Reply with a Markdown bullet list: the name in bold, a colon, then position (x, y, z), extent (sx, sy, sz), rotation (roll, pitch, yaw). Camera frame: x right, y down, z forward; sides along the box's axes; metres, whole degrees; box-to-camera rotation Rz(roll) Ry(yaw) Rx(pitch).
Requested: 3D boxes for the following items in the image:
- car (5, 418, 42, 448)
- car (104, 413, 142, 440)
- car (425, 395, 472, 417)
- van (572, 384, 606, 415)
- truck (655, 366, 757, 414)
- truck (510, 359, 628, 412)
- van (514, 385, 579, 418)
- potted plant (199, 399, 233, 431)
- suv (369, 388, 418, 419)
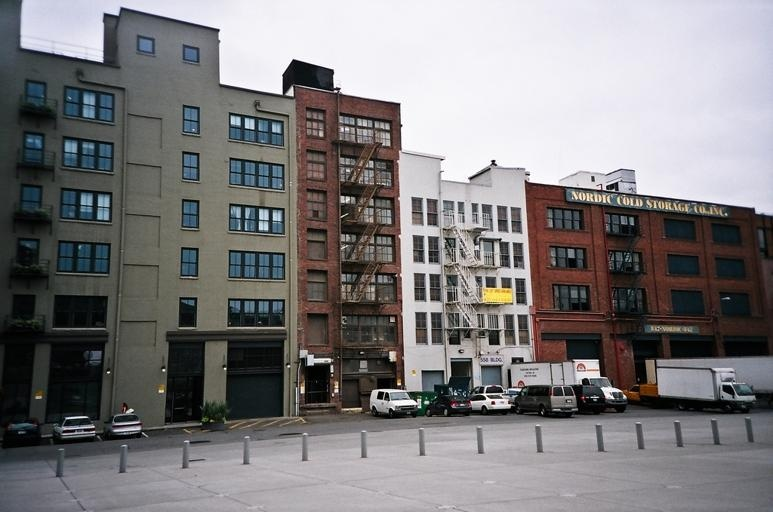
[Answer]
- **car**: position (-27.066, 13.195, 49.582), extent (2.295, 1.895, 1.396), rotation (3, -14, -21)
- **car**: position (-20.106, 13.163, 51.064), extent (1.731, 1.138, 2.714), rotation (3, -5, -31)
- **car**: position (5.365, 13.141, 58.475), extent (3.773, 1.750, 1.242), rotation (-14, -18, 42)
- **van**: position (17.087, 12.063, 55.860), extent (1.971, 1.740, 3.350), rotation (0, -5, -4)
- **truck**: position (28.044, 11.620, 58.577), extent (3.103, 3.594, 7.582), rotation (0, -6, -29)
- **truck**: position (16.865, 12.079, 61.882), extent (3.878, 4.352, 12.839), rotation (7, -11, -32)
- **van**: position (13.157, 11.913, 55.225), extent (2.609, 1.696, 4.595), rotation (4, -8, -25)
- **potted plant**: position (-14.066, 13.148, 54.499), extent (1.812, 2.170, 1.531), rotation (5, -15, -29)
- **suv**: position (0.475, 12.896, 58.683), extent (4.150, 2.209, 1.754), rotation (-13, -17, 40)
